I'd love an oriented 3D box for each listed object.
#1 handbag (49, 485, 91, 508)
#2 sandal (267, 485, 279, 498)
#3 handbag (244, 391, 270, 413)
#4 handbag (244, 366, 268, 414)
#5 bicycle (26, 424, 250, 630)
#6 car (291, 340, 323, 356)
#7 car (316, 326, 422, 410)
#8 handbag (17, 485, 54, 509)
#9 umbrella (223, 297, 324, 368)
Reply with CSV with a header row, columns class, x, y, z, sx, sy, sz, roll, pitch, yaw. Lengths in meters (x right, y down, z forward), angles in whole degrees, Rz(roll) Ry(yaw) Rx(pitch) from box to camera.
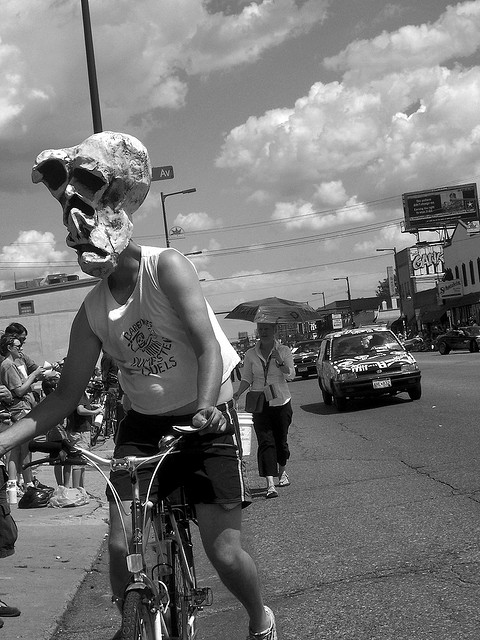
class,x,y,z,sx,sy,sz,roll,pitch,yaw
handbag,-2.094,2.264,6.560,0.231,0.238,0.503,-7,-19,24
sandal,0.401,2.158,6.436,0.122,0.146,0.369,-2,-6,-1
handbag,0.216,1.172,7.015,0.320,0.316,0.268,-6,-16,29
handbag,0.233,0.960,6.969,0.435,0.617,0.220,-2,-9,14
bicycle,-0.253,0.604,1.457,0.504,0.539,0.819,-4,-12,6
car,3.689,1.425,28.944,1.137,0.890,2.387,-2,-6,12
car,3.318,1.254,14.979,1.765,1.493,3.025,-5,-6,-11
handbag,-2.518,2.213,6.387,0.215,0.168,0.316,-1,-14,-4
umbrella,0.557,0.412,9.087,1.756,1.737,1.846,2,-2,-3
